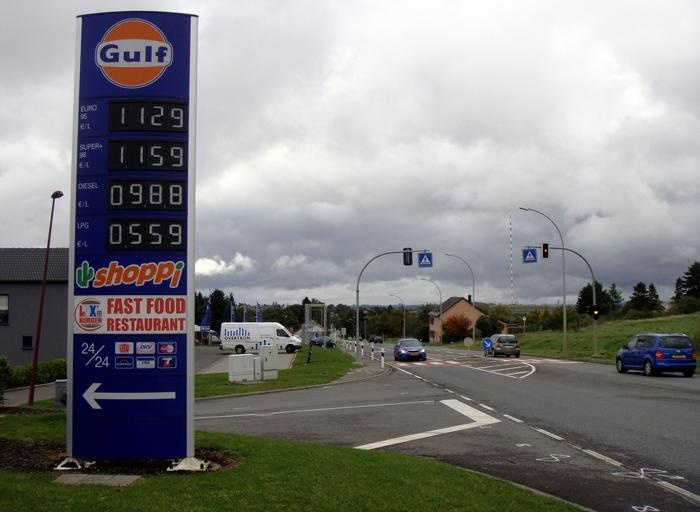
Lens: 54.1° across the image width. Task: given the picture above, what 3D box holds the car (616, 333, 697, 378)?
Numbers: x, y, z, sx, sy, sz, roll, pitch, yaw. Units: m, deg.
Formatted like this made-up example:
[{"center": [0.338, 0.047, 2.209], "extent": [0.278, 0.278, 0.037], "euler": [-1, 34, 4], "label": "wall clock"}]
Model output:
[{"center": [12.698, 4.098, 28.478], "extent": [1.630, 1.495, 3.049], "euler": [2, -3, -4], "label": "car"}]

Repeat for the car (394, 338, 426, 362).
[{"center": [3.703, 5.937, 42.718], "extent": [1.791, 1.445, 2.333], "euler": [-3, -9, 1], "label": "car"}]

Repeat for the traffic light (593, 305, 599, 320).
[{"center": [14.302, 3.346, 39.959], "extent": [0.295, 0.732, 0.672], "euler": [-4, -8, 13], "label": "traffic light"}]

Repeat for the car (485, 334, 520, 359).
[{"center": [10.130, 6.121, 45.590], "extent": [1.197, 1.094, 2.244], "euler": [0, -1, 2], "label": "car"}]
